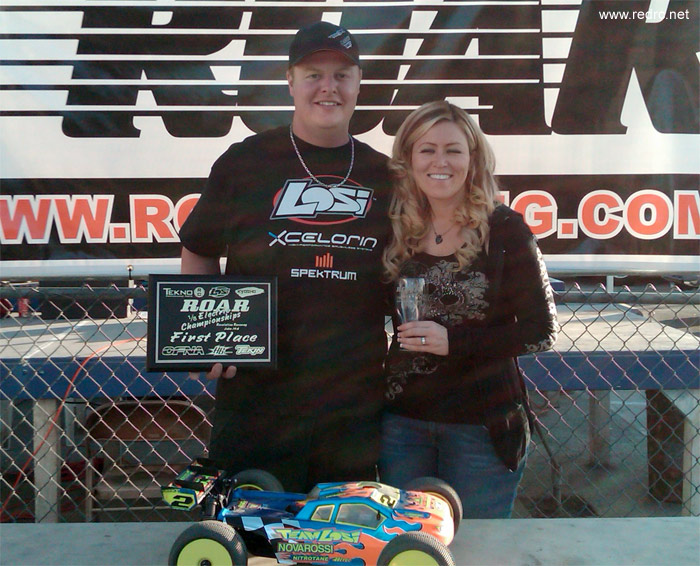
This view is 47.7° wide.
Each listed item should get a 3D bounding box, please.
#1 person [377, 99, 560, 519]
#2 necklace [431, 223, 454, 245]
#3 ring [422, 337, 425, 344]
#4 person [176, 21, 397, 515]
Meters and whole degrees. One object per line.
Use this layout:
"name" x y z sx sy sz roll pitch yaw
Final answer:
"person" 0.473 0.094 3.216 0.717 1.674 0.547 -2 11 10
"necklace" 0.391 -0.202 3.279 0.124 0.043 0.011 -12 -14 -8
"ring" 0.294 0.226 3.118 0.008 0.022 0.027 5 -12 -15
"person" -0.217 -0.114 3.232 0.914 1.883 0.505 -6 11 -9
